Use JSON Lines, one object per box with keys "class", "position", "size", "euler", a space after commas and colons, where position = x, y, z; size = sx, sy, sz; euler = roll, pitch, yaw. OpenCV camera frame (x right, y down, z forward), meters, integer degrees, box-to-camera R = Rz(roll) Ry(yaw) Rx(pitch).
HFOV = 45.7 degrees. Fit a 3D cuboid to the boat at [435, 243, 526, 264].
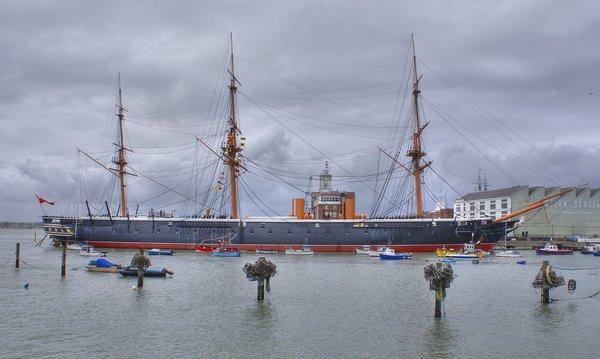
{"class": "boat", "position": [32.987, 13.831, 132.731], "size": [20.179, 3.858, 11.209], "euler": [8, -10, -41]}
